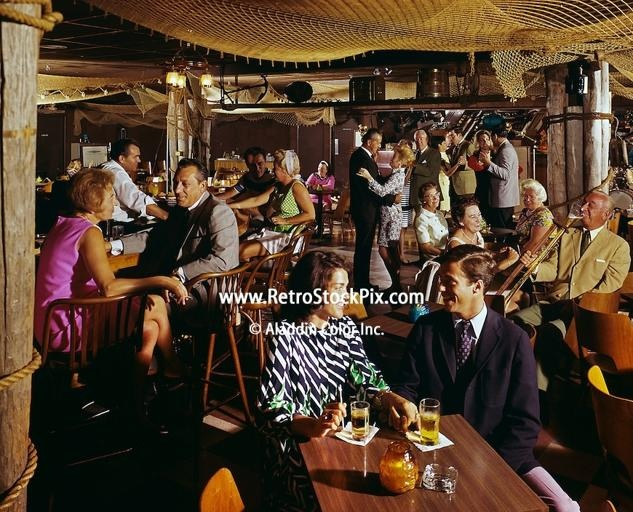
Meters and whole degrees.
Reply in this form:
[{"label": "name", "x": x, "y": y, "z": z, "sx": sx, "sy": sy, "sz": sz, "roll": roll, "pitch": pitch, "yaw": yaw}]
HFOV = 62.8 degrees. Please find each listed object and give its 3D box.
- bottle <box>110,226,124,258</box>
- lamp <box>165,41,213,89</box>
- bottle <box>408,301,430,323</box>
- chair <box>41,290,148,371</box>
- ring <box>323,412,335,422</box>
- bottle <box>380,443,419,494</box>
[{"label": "bottle", "x": -1.492, "y": -0.095, "z": 3.858, "sx": 0.075, "sy": 0.212, "sz": 0.203, "roll": 7, "pitch": -38, "yaw": -37}, {"label": "lamp", "x": -1.725, "y": -2.511, "z": 6.862, "sx": 0.646, "sy": 0.583, "sz": 0.626, "roll": 0, "pitch": 14, "yaw": -5}, {"label": "bottle", "x": 0.625, "y": 0.346, "z": 3.178, "sx": 0.171, "sy": 0.161, "sz": 0.180, "roll": -1, "pitch": 7, "yaw": 8}, {"label": "chair", "x": -1.214, "y": 0.404, "z": 2.777, "sx": 0.283, "sy": 0.433, "sz": 0.298, "roll": -7, "pitch": 48, "yaw": -37}, {"label": "ring", "x": 0.040, "y": 0.581, "z": 1.865, "sx": 0.020, "sy": 0.016, "sz": 0.021, "roll": 0, "pitch": 5, "yaw": 0}, {"label": "bottle", "x": 0.246, "y": 0.640, "z": 1.564, "sx": 0.107, "sy": 0.121, "sz": 0.121, "roll": 0, "pitch": -3, "yaw": 5}]
